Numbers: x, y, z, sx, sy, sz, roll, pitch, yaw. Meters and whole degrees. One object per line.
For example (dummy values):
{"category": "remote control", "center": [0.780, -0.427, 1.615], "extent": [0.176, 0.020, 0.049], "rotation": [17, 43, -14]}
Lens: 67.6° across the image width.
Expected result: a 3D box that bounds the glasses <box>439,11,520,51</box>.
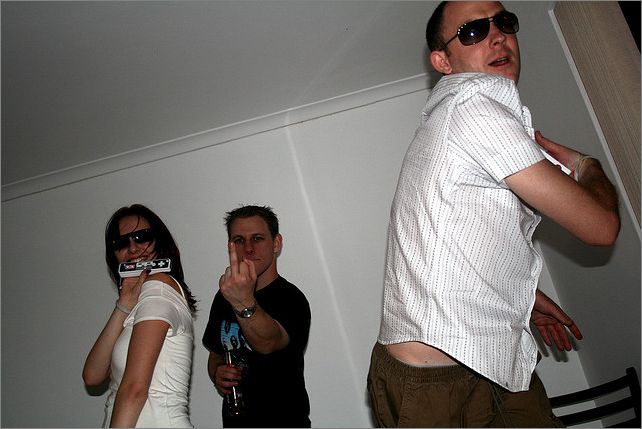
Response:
{"category": "glasses", "center": [0.674, -0.778, 1.999], "extent": [0.191, 0.065, 0.219], "rotation": [-20, 1, -12]}
